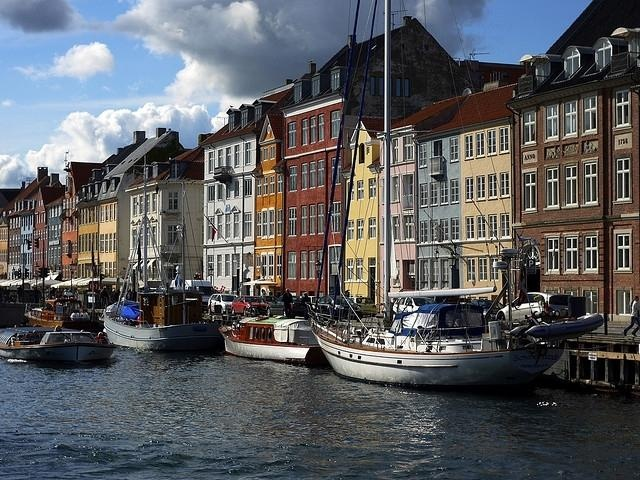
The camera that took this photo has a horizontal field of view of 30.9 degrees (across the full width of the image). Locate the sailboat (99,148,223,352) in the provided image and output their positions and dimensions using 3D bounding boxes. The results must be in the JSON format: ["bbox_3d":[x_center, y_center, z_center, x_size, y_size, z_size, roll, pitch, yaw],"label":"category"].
[{"bbox_3d":[-13.678,-0.352,101.762,7.721,14.545,55.047,-3,6,-7],"label":"sailboat"}]

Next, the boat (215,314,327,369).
[{"bbox_3d":[-2.333,6.079,69.621,2.390,1.814,6.743,3,-1,-36],"label":"boat"}]

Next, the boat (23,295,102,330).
[{"bbox_3d":[-19.849,5.974,90.033,4.541,2.730,15.343,-5,6,-20],"label":"boat"}]

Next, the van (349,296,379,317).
[{"bbox_3d":[2.933,4.663,79.539,1.039,0.944,1.948,0,3,-10],"label":"van"}]
